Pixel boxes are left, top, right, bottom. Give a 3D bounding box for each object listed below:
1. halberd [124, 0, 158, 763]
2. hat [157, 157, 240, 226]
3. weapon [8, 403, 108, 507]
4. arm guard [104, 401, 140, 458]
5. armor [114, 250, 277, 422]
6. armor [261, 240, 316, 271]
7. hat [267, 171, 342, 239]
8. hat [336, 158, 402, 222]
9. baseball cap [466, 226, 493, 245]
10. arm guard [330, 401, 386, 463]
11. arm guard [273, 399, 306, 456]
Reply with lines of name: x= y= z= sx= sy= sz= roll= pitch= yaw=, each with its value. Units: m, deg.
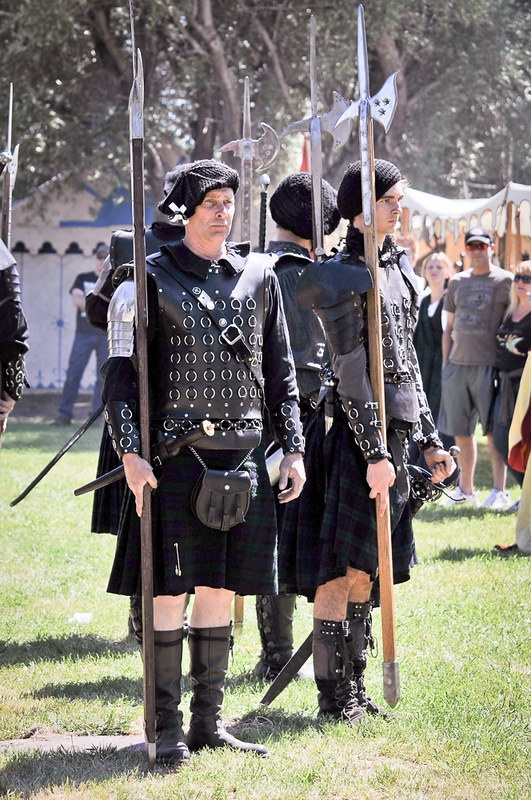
halberd: x=-0.426 y=-0.084 z=4.582 sx=0.115 sy=2.601 sz=0.631 roll=1 pitch=6 yaw=-6
hat: x=-0.247 y=-0.757 z=4.745 sx=0.266 sy=0.179 sz=0.200 roll=-20 pitch=-11 yaw=20
weapon: x=-1.555 y=0.410 z=9.858 sx=0.095 sy=0.857 sz=0.098 roll=46 pitch=-17 yaw=-28
arm guard: x=-0.494 y=0.100 z=4.538 sx=0.122 sy=0.185 sz=0.063 roll=-15 pitch=-7 yaw=-16
armor: x=-0.261 y=-0.216 z=4.604 sx=0.608 sy=0.663 sz=0.388 roll=5 pitch=-9 yaw=-36
armor: x=0.103 y=-0.619 z=5.580 sx=0.172 sy=0.078 sz=0.208 roll=3 pitch=0 yaw=5
hat: x=0.163 y=-0.851 z=5.756 sx=0.338 sy=0.239 sz=0.258 roll=17 pitch=-7 yaw=13
hat: x=0.394 y=-0.845 z=5.035 sx=0.229 sy=0.164 sz=0.204 roll=2 pitch=31 yaw=8
baseball cap: x=1.394 y=-1.081 z=8.664 sx=0.164 sy=0.118 sz=0.183 roll=2 pitch=5 yaw=8
arm guard: x=0.367 y=0.110 z=4.839 sx=0.115 sy=0.205 sz=0.181 roll=-15 pitch=5 yaw=-33
arm guard: x=0.075 y=0.096 z=4.775 sx=0.121 sy=0.183 sz=0.074 roll=-4 pitch=-15 yaw=-19
